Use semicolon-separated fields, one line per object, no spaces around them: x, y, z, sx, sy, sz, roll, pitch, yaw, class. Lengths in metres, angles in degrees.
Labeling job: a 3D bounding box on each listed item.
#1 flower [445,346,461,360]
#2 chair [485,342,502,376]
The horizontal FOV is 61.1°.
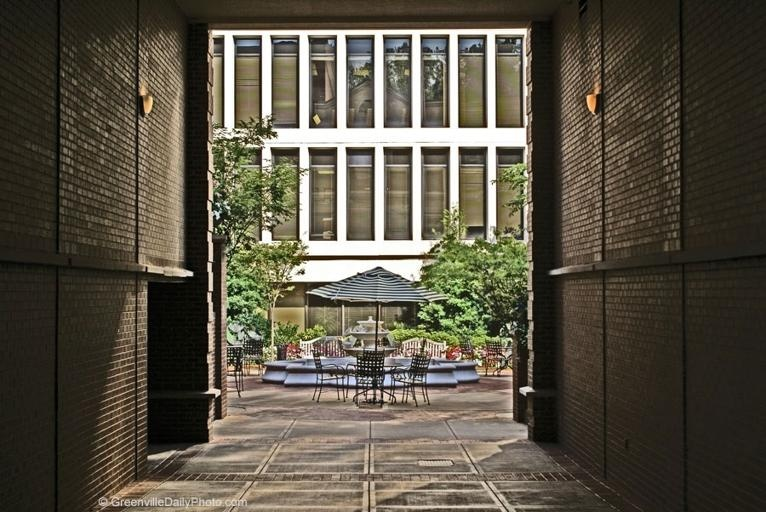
2.726;3.838;25.669;0.507;0.512;0.521;6;1;32;flower
3.981;3.722;23.483;0.610;1.053;1.612;0;-1;9;chair
